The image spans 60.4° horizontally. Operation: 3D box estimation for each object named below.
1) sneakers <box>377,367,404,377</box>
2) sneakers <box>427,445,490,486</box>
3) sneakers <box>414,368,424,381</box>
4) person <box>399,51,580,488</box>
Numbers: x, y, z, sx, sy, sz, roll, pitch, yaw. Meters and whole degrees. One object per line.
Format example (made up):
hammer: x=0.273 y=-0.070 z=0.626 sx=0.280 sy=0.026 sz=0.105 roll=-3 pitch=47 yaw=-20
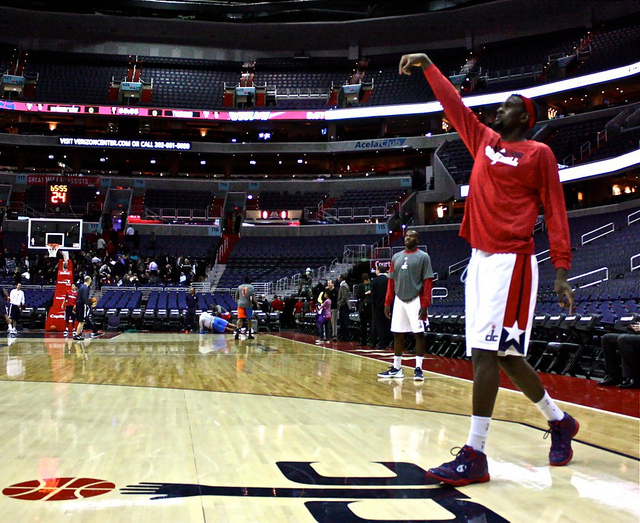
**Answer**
sneakers: x=0.675 y=1.095 z=5.362 sx=0.277 sy=0.121 sz=0.109 roll=-1 pitch=-9 yaw=28
sneakers: x=0.575 y=0.837 z=2.264 sx=0.290 sy=0.146 sz=0.109 roll=5 pitch=-8 yaw=-25
sneakers: x=0.927 y=1.065 z=5.154 sx=0.068 sy=0.081 sz=0.174 roll=-1 pitch=-15 yaw=5
person: x=0.828 y=-0.042 z=2.501 sx=0.805 sy=1.944 sz=0.507 roll=3 pitch=-5 yaw=-4
